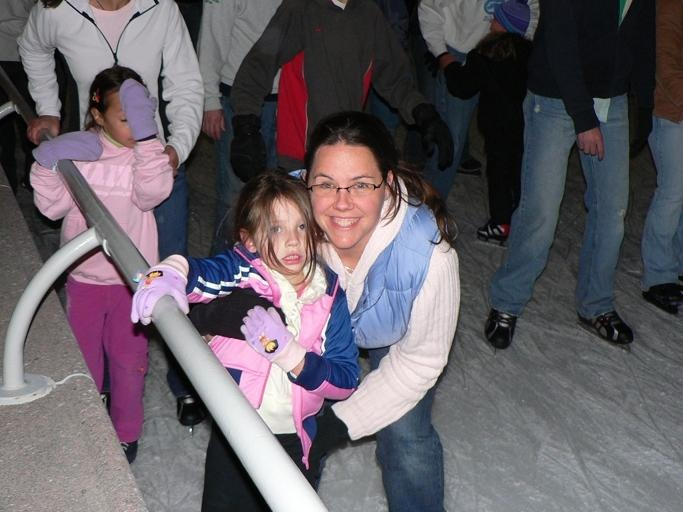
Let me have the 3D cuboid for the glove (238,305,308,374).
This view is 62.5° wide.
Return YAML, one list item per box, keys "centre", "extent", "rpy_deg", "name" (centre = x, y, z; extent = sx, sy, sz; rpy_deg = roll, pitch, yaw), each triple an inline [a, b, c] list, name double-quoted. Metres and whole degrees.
- centre: [-0.219, 0.264, 1.755]
  extent: [0.232, 0.065, 0.142]
  rpy_deg: [39, 58, 15]
  name: "glove"

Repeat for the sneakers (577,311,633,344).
- centre: [1.761, 0.467, 3.724]
  extent: [0.169, 0.208, 0.484]
  rpy_deg: [3, 5, -5]
  name: "sneakers"

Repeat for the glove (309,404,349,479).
- centre: [-0.040, 0.746, 2.199]
  extent: [0.138, 0.362, 0.229]
  rpy_deg: [3, 22, 6]
  name: "glove"

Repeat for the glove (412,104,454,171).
- centre: [0.478, -0.643, 2.998]
  extent: [0.201, 0.382, 0.118]
  rpy_deg: [-15, -10, -13]
  name: "glove"

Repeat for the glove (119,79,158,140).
- centre: [-0.842, -0.609, 2.345]
  extent: [0.144, 0.237, 0.136]
  rpy_deg: [-9, 24, -22]
  name: "glove"

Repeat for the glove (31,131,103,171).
- centre: [-1.080, -0.430, 2.228]
  extent: [0.151, 0.087, 0.234]
  rpy_deg: [25, 36, 18]
  name: "glove"

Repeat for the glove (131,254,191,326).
- centre: [-0.442, 0.082, 1.491]
  extent: [0.156, 0.088, 0.287]
  rpy_deg: [1, 12, -5]
  name: "glove"

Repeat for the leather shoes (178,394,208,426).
- centre: [-0.791, 0.789, 2.929]
  extent: [0.113, 0.140, 0.181]
  rpy_deg: [-9, 16, -16]
  name: "leather shoes"

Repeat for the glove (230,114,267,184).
- centre: [-0.481, -0.536, 2.903]
  extent: [0.173, 0.363, 0.290]
  rpy_deg: [-3, 23, -9]
  name: "glove"
